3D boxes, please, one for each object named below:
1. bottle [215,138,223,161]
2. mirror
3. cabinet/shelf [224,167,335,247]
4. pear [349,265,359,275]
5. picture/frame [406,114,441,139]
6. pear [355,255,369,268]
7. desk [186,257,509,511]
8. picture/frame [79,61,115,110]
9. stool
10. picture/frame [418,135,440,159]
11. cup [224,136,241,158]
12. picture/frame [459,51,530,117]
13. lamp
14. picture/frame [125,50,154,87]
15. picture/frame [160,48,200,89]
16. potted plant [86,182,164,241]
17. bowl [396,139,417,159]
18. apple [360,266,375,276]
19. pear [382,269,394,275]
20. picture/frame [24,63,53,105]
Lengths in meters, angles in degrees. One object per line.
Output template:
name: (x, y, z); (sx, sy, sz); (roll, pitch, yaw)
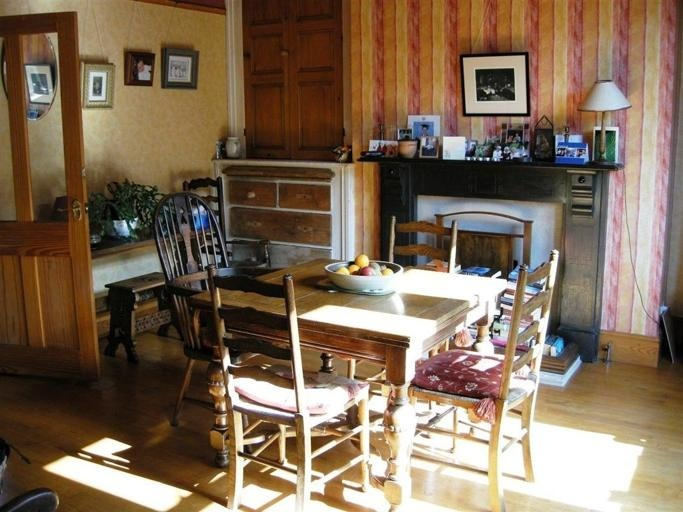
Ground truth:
bottle: (-1.266, -1.125, 5.620); (0.107, 0.220, 0.228); (-4, 11, -12)
mirror: (-2.103, -1.246, 3.651); (0.565, 0.682, 0.049); (4, 10, 20)
cabinet/shelf: (-0.562, -0.489, 5.248); (0.764, 0.716, 0.298); (4, 9, 23)
pear: (0.062, 0.071, 2.774); (0.044, 0.051, 0.044); (11, -29, 2)
picture/frame: (0.689, -1.079, 4.465); (0.228, 0.162, 0.008); (2, -3, 21)
pear: (0.114, 0.036, 2.871); (0.066, 0.077, 0.063); (6, 24, 26)
desk: (0.183, 0.633, 2.805); (0.865, 0.959, 0.973); (7, 14, 38)
picture/frame: (-2.071, -1.462, 4.592); (0.098, 0.390, 0.279); (5, 13, 31)
stool: (-1.582, 0.513, 4.249); (0.331, 0.626, 0.689); (4, 7, 21)
picture/frame: (0.715, -0.900, 4.424); (0.216, 0.245, 0.036); (1, -5, 14)
cup: (-1.118, -1.126, 5.553); (0.189, 0.245, 0.196); (1, 4, 0)
picture/frame: (1.207, -1.357, 4.191); (0.550, 0.468, 0.024); (3, 7, 27)
lamp: (1.850, -0.957, 3.806); (0.316, 0.590, 0.280); (4, 12, 26)
picture/frame: (-1.834, -1.709, 4.862); (0.036, 0.332, 0.339); (15, 19, 37)
picture/frame: (-1.571, -1.822, 5.183); (0.447, 0.425, 0.047); (-6, 12, -41)
potted plant: (-1.896, -0.376, 4.800); (0.666, 0.484, 0.678); (2, 0, -9)
bowl: (0.548, -0.905, 4.534); (0.152, 0.115, 0.154); (-1, 9, 0)
apple: (0.130, 0.080, 2.733); (0.045, 0.055, 0.045); (16, -17, 7)
pear: (0.241, 0.084, 2.826); (0.034, 0.039, 0.034); (11, -36, -27)
picture/frame: (-2.053, -1.186, 3.660); (0.284, 0.324, 0.024); (1, 8, 12)
